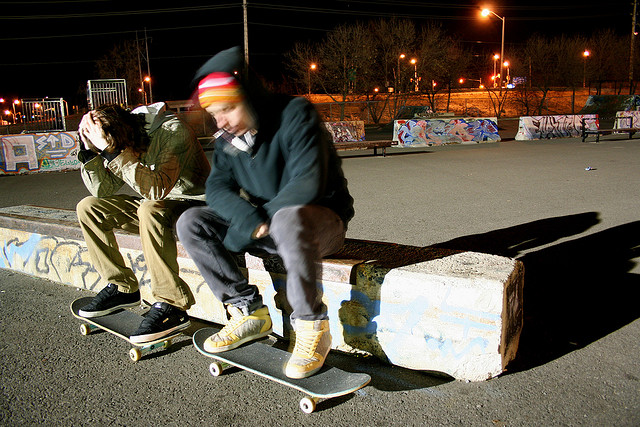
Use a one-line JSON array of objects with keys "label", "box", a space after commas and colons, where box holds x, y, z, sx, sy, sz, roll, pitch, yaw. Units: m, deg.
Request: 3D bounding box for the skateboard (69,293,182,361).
[{"label": "skateboard", "box": [-1.879, 1.010, 4.406, 1.554, 0.302, 0.433, 15, 20, 32]}]

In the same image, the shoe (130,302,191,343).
[{"label": "shoe", "box": [-1.425, 0.939, 4.255, 0.217, 0.315, 0.659, -4, -1, 27]}]

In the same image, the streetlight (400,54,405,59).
[{"label": "streetlight", "box": [7.679, -14.660, 44.380, 0.451, 0.259, 0.392, -2, 13, 1]}]

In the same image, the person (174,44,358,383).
[{"label": "person", "box": [-0.452, -0.086, 3.820, 1.196, 2.429, 0.816, 4, 14, 22]}]

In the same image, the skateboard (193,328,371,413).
[{"label": "skateboard", "box": [-0.305, 1.235, 3.712, 1.539, 0.252, 0.369, 9, 11, 35]}]

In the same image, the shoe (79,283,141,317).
[{"label": "shoe", "box": [-2.056, 0.829, 4.714, 0.628, 0.314, 0.214, 0, 8, -37]}]
